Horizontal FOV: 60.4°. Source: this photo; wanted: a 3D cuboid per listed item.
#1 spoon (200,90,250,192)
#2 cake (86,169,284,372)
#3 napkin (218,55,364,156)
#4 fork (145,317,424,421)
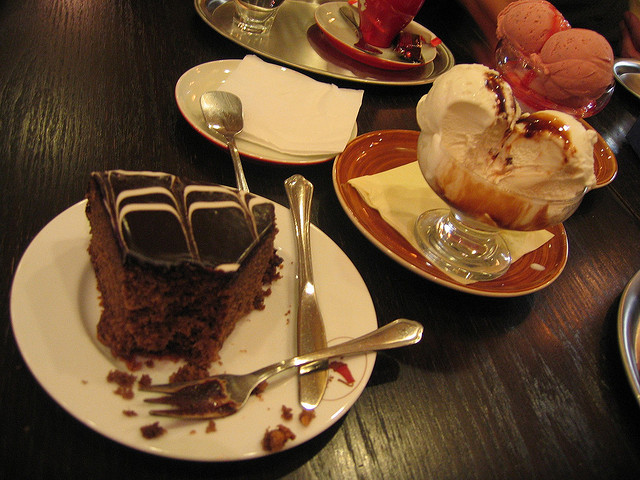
[{"bbox_3d":[-0.217,-0.239,1.390,0.077,0.329,0.037,2,52,-1],"label":"spoon"},{"bbox_3d":[-0.240,0.091,1.108,0.319,0.274,0.346,39,45,27],"label":"cake"},{"bbox_3d":[-0.080,-0.338,1.368,0.357,0.100,0.303,19,63,-7],"label":"napkin"},{"bbox_3d":[-0.045,0.235,0.977,0.509,0.064,0.081,-10,68,-20],"label":"fork"}]
